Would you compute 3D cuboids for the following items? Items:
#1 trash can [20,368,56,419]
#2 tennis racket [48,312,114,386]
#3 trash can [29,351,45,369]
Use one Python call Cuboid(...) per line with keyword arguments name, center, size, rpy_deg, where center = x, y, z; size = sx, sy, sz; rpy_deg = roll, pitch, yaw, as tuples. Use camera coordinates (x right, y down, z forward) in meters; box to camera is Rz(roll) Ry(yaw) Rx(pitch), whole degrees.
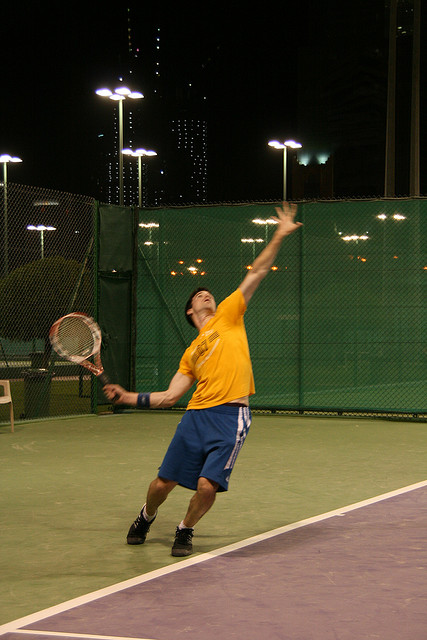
Cuboid(name="trash can", center=(-3.322, 1.363, 11.507), size=(0.563, 0.897, 0.487), rpy_deg=(-1, 1, -19))
Cuboid(name="tennis racket", center=(-0.832, 0.189, 3.842), size=(0.091, 0.328, 0.733), rpy_deg=(30, 10, -41))
Cuboid(name="trash can", center=(-3.438, 0.775, 11.990), size=(0.307, 0.405, 0.298), rpy_deg=(1, -3, 2))
